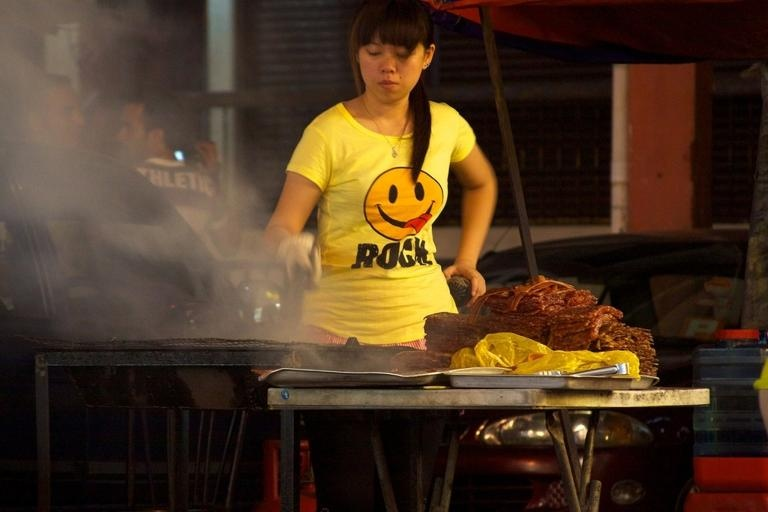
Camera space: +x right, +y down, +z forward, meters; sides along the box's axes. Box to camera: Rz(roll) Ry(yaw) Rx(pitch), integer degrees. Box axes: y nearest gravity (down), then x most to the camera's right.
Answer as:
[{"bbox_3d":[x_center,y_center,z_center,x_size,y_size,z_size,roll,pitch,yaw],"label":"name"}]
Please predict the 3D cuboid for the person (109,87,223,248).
[{"bbox_3d":[-1.292,-0.571,9.967,0.718,1.008,0.403,-23,-7,41],"label":"person"}]

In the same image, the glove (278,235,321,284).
[{"bbox_3d":[-0.397,0.019,7.881,0.208,0.265,0.139,2,-3,-4],"label":"glove"}]
